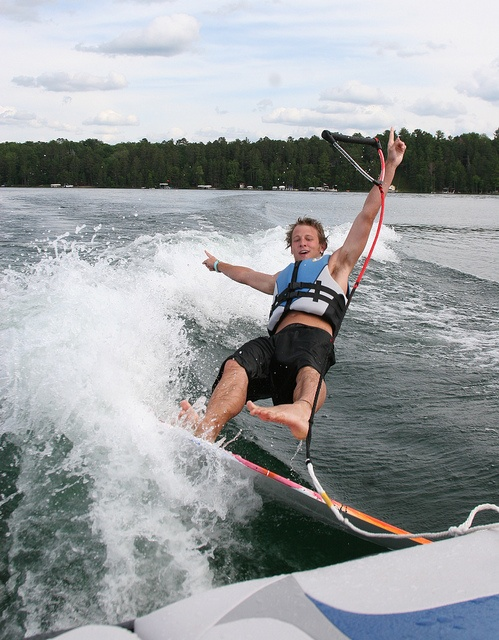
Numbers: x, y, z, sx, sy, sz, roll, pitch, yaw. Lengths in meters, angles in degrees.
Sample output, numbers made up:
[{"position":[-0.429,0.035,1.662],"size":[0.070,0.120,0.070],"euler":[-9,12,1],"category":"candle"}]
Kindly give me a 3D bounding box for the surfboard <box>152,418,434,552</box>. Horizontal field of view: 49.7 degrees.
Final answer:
[{"position":[-0.128,0.708,3.370],"size":[2.525,0.401,0.211],"euler":[17,54,39],"category":"surfboard"}]

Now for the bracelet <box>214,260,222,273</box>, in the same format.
[{"position":[-0.271,-0.410,4.180],"size":[0.050,0.099,0.091],"euler":[11,12,29],"category":"bracelet"}]
